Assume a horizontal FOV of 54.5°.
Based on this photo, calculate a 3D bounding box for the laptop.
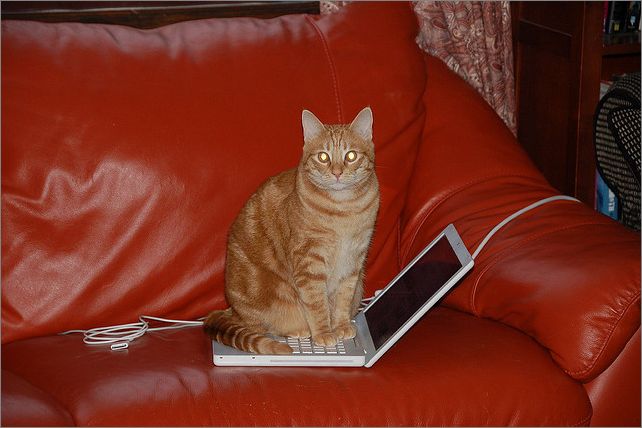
[{"bbox_3d":[0.061,0.173,1.791,0.668,0.342,0.394,-1,24,0],"label":"laptop"}]

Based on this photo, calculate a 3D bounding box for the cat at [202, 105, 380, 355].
[{"bbox_3d":[-0.110,0.053,2.005,0.489,0.744,0.537,5,23,11],"label":"cat"}]
